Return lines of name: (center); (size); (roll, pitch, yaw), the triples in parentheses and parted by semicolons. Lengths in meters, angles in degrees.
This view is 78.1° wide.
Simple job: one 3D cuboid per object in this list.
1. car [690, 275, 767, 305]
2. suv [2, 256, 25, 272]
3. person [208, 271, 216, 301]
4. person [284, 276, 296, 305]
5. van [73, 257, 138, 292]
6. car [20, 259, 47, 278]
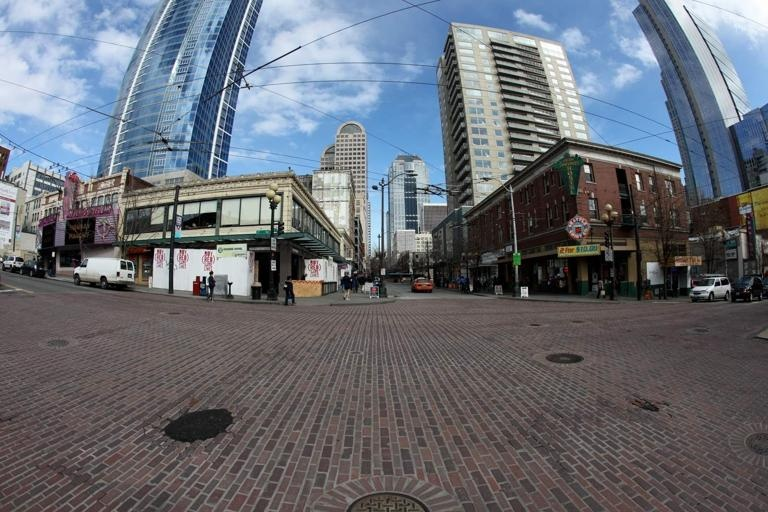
car: (20.653, 1.836, 28.315); (3.131, 1.477, 3.821); (4, 4, 42)
suv: (-32.997, 0.624, 41.776); (2.428, 1.226, 1.217); (7, 4, 31)
person: (-8.961, 1.473, 24.305); (0.248, 1.367, 1.044); (0, 3, -23)
person: (-4.860, 1.648, 23.989); (0.454, 1.318, 1.949); (1, 3, -10)
van: (-16.855, 0.877, 28.266); (3.618, 1.754, 0.970); (2, 3, 23)
car: (-28.299, 0.929, 38.327); (2.600, 1.192, 1.360); (7, 3, 31)
